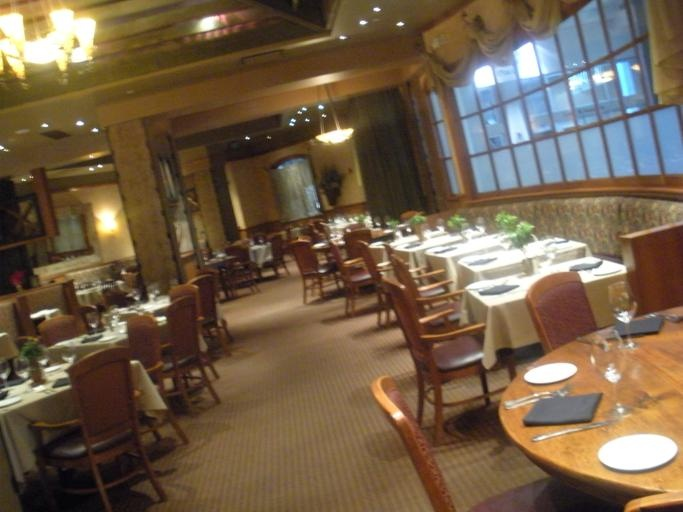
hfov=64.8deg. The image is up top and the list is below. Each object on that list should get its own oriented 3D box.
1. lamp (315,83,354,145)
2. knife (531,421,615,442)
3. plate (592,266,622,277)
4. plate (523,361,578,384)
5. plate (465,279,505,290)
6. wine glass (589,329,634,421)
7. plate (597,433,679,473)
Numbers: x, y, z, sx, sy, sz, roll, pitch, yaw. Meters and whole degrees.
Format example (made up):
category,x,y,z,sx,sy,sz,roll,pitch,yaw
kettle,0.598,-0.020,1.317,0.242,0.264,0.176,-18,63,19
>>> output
category,x,y,z,sx,sy,sz,roll,pitch,yaw
lamp,-0.464,-3.559,13.632,1.046,1.569,0.985,-13,15,-3
knife,0.897,0.677,2.097,0.312,0.031,0.044,-12,5,4
plate,1.900,0.106,3.831,0.210,0.025,0.206,-10,5,22
plate,0.966,0.544,2.494,0.199,0.044,0.198,-16,6,-36
plate,1.137,0.227,4.259,0.319,0.038,0.251,-16,6,-38
wine glass,1.140,0.465,2.277,0.121,0.253,0.472,-11,5,27
plate,1.045,0.692,1.897,0.256,0.049,0.149,-12,5,5
